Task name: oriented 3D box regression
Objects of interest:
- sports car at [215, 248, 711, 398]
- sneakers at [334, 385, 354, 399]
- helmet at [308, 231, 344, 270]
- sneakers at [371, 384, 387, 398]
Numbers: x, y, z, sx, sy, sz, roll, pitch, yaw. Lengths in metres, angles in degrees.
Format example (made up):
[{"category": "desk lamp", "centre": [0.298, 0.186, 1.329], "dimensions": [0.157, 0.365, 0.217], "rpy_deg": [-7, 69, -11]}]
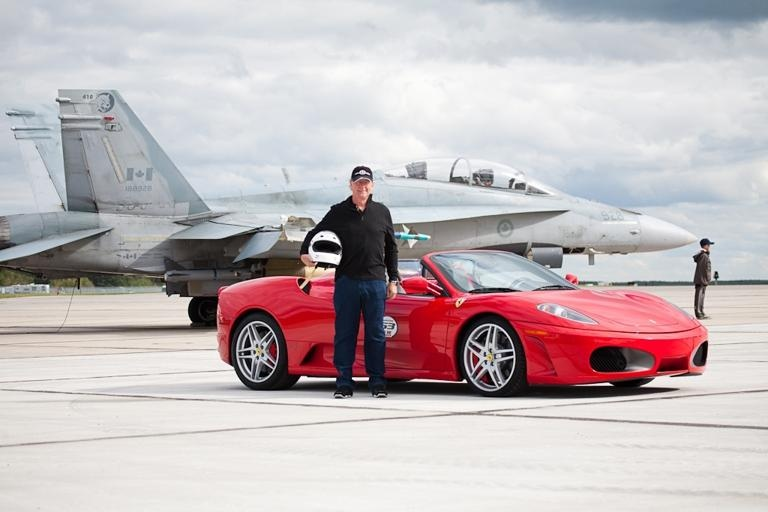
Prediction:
[{"category": "sports car", "centre": [0.956, 0.791, 8.640], "dimensions": [5.231, 0.897, 2.559], "rpy_deg": [-2, 1, 40]}, {"category": "sneakers", "centre": [-0.457, 1.488, 7.537], "dimensions": [0.203, 0.153, 0.221], "rpy_deg": [-3, 9, -2]}, {"category": "helmet", "centre": [-0.645, -0.081, 7.693], "dimensions": [0.466, 0.287, 0.469], "rpy_deg": [3, -2, -6]}, {"category": "sneakers", "centre": [-0.051, 1.474, 7.482], "dimensions": [0.174, 0.142, 0.214], "rpy_deg": [-3, 9, -3]}]
